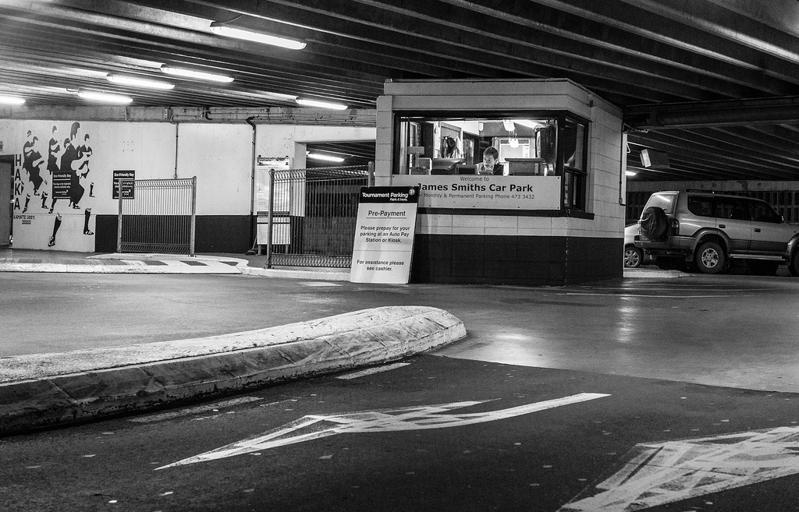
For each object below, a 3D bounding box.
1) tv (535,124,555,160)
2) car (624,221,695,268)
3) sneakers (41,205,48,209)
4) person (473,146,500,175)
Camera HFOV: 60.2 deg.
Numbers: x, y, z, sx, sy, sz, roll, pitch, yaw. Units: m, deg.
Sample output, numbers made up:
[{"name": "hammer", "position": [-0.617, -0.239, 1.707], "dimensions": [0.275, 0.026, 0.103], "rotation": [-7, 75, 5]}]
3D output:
[{"name": "tv", "position": [3.788, -2.944, 17.782], "dimensions": [0.606, 1.157, 1.109], "rotation": [-2, 7, 6]}, {"name": "car", "position": [9.569, -0.365, 25.451], "dimensions": [2.979, 1.687, 1.749], "rotation": [1, -1, 2]}, {"name": "sneakers", "position": [-15.523, -2.146, 30.214], "dimensions": [0.311, 0.216, 0.111], "rotation": [3, 0, 9]}, {"name": "person", "position": [2.510, -2.597, 18.743], "dimensions": [0.386, 0.994, 0.681], "rotation": [12, -10, -38]}]
